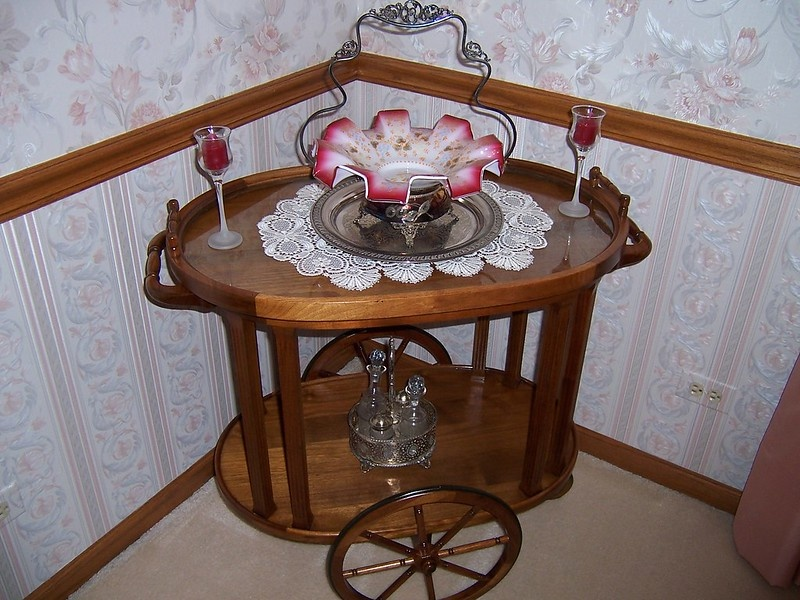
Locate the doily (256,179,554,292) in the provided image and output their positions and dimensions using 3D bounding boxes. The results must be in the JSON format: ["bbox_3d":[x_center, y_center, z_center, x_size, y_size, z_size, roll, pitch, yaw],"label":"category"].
[{"bbox_3d":[0.023,-0.156,1.342,0.677,0.064,0.390,-8,31,-10],"label":"doily"}]

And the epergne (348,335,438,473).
[{"bbox_3d":[-0.020,0.308,1.646,0.291,0.367,0.270,1,37,-1],"label":"epergne"}]

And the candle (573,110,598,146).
[{"bbox_3d":[0.441,-0.400,1.378,0.059,0.069,0.031,6,34,13],"label":"candle"}]

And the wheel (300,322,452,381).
[{"bbox_3d":[-0.075,0.160,1.920,0.388,0.211,0.382,4,-18,1],"label":"wheel"}]
